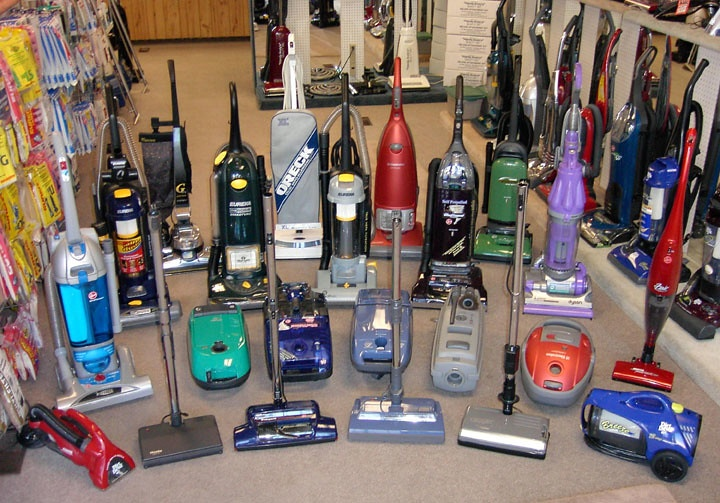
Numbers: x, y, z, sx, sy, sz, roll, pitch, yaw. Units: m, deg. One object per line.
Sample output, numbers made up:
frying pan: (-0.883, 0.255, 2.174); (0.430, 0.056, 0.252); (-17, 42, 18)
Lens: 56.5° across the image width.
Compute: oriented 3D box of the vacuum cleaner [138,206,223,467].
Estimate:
vacuum cleaner: (-1.069, 0.468, 3.610); (0.461, 1.407, 0.441); (-12, 28, -19)

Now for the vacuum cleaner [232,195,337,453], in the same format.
vacuum cleaner: (-0.457, 0.397, 3.638); (0.605, 1.477, 0.295); (-5, 26, -7)

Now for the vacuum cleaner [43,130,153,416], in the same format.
vacuum cleaner: (-1.592, 0.206, 3.977); (0.553, 1.793, 0.550); (-15, 30, -25)

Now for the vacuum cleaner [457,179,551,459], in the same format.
vacuum cleaner: (0.840, 0.400, 3.691); (0.533, 1.430, 0.357); (5, 16, 14)

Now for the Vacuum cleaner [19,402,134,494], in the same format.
Vacuum cleaner: (-1.619, 1.022, 3.737); (0.664, 0.309, 0.237); (21, 32, 13)
